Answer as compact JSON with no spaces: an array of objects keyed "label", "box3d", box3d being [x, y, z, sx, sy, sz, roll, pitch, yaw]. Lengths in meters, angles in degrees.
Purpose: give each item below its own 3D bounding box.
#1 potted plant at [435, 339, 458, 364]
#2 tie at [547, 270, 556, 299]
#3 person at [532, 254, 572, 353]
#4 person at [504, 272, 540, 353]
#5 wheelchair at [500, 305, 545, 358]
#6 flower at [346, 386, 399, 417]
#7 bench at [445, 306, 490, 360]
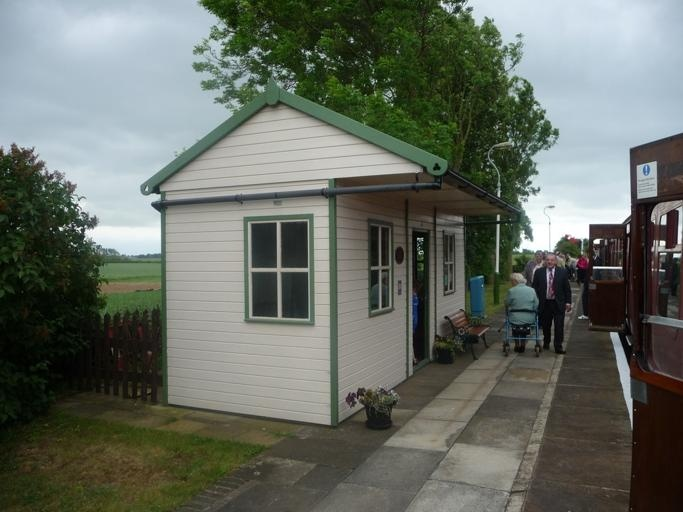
[{"label":"potted plant","box3d":[2.327,2.109,13.518,0.518,0.577,0.481,0,-5,-2]},{"label":"tie","box3d":[4.860,0.619,13.833,0.186,0.676,0.178,4,10,37]},{"label":"person","box3d":[4.998,1.057,14.131,0.765,2.245,1.030,-1,-1,30]},{"label":"person","box3d":[4.134,1.253,13.928,0.845,1.928,0.770,2,4,8]},{"label":"wheelchair","box3d":[4.215,1.703,14.287,0.787,1.446,1.455,1,6,20]},{"label":"flower","box3d":[0.467,2.206,9.343,0.602,0.309,0.463,0,-1,22]},{"label":"bench","box3d":[3.042,2.172,14.549,0.772,1.006,1.994,-3,-2,21]}]
